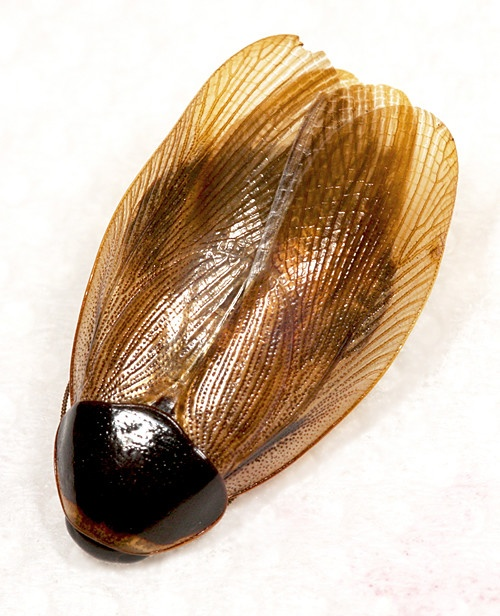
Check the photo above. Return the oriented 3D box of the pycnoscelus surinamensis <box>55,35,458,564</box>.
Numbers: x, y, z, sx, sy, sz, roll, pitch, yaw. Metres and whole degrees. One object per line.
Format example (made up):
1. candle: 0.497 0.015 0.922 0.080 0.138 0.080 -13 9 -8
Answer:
1. pycnoscelus surinamensis: -0.029 -0.031 0.954 0.404 0.666 0.356 3 24 -48
